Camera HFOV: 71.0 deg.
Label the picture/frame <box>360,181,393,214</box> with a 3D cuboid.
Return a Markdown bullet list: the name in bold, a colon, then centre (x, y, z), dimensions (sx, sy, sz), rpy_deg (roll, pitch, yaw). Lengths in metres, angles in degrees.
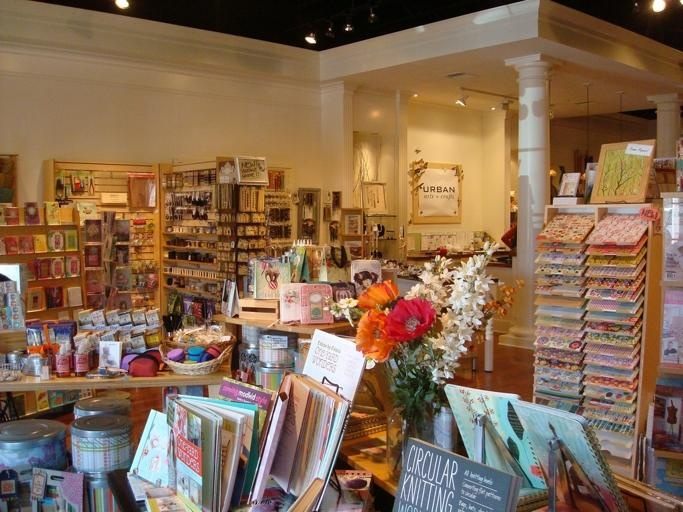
- **picture/frame**: centre (0.779, -1.300, 10.689), dimensions (0.812, 0.810, 0.636), rpy_deg (-1, -1, -29)

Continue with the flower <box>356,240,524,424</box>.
- **flower**: centre (0.367, 0.301, 1.978), dimensions (0.623, 0.691, 0.483), rpy_deg (1, 3, 20)

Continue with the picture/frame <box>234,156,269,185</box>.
- **picture/frame**: centre (-1.347, -1.246, 7.049), dimensions (0.406, 0.360, 0.065), rpy_deg (5, -12, -42)

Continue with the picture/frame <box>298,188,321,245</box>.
- **picture/frame**: centre (-0.625, -0.821, 9.745), dimensions (0.613, 1.140, 0.261), rpy_deg (-2, 4, -33)

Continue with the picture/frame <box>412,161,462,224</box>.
- **picture/frame**: centre (2.295, -1.586, 11.771), dimensions (1.558, 1.400, 0.168), rpy_deg (-2, 3, -35)

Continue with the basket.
- **basket**: centre (-1.000, 0.632, 3.359), dimensions (0.464, 0.199, 0.544), rpy_deg (0, 1, -9)

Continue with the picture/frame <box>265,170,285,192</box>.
- **picture/frame**: centre (-1.214, -1.457, 9.155), dimensions (0.153, 0.395, 0.452), rpy_deg (2, 4, 37)

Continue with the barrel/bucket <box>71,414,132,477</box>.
- **barrel/bucket**: centre (-1.315, 0.993, 2.627), dimensions (0.274, 0.264, 0.266), rpy_deg (0, -1, 0)

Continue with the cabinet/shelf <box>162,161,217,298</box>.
- **cabinet/shelf**: centre (-2.526, -0.414, 7.980), dimensions (0.504, 2.223, 1.591), rpy_deg (-3, 4, -44)

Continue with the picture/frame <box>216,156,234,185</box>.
- **picture/frame**: centre (-1.734, -1.270, 7.165), dimensions (0.061, 0.487, 0.416), rpy_deg (-3, 4, -44)

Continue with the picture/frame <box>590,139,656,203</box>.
- **picture/frame**: centre (2.553, -0.757, 4.366), dimensions (0.481, 0.578, 0.377), rpy_deg (3, 4, 38)
